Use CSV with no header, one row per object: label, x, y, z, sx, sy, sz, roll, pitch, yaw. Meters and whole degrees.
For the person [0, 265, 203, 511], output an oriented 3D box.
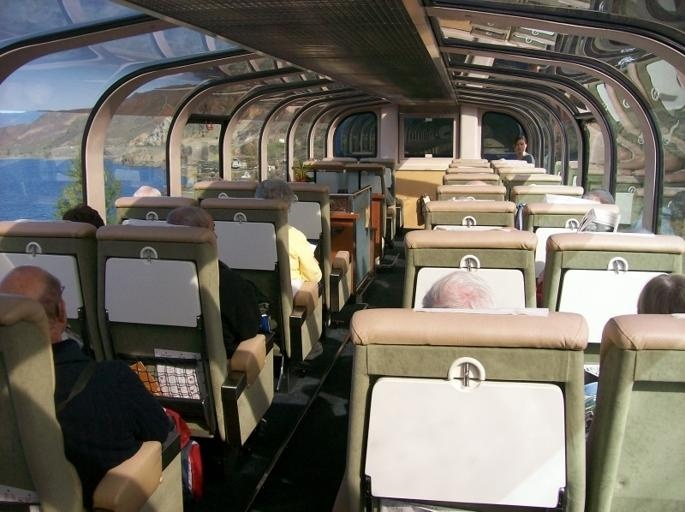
person,-1.136,0.602,2.522,0.645,1.120,0.301,-6,14,-27
